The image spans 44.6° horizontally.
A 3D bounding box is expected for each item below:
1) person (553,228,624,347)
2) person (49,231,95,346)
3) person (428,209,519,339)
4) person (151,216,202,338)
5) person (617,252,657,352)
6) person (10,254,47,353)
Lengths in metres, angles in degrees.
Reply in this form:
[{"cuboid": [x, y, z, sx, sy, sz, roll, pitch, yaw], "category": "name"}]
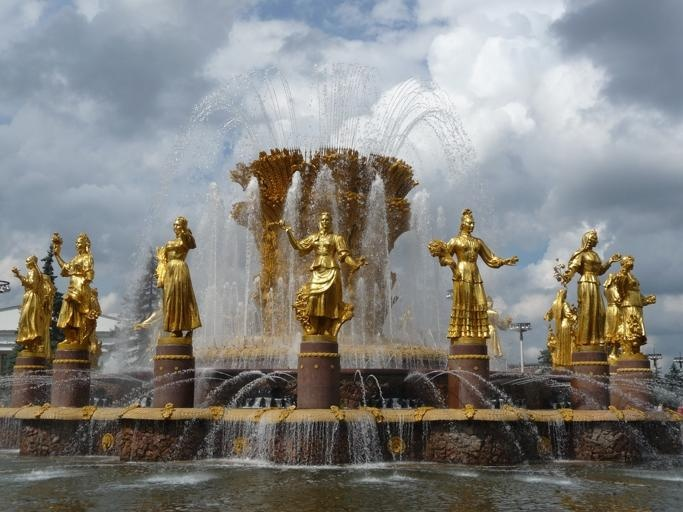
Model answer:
[{"cuboid": [5.048, 0.645, 17.072, 0.802, 2.267, 1.140, 3, 7, 16], "category": "person"}, {"cuboid": [-5.781, 0.717, 18.141, 0.921, 2.500, 1.326, -1, 7, -17], "category": "person"}, {"cuboid": [2.440, 0.611, 16.337, 1.336, 1.963, 0.987, 1, 6, 5], "category": "person"}, {"cuboid": [-3.210, 0.387, 16.258, 0.824, 2.292, 0.839, -1, 6, -12], "category": "person"}, {"cuboid": [6.359, 1.077, 18.148, 0.561, 2.062, 0.630, 2, 6, 9], "category": "person"}, {"cuboid": [-7.008, 1.059, 18.706, 0.644, 2.188, 0.767, -2, 7, -20], "category": "person"}]
